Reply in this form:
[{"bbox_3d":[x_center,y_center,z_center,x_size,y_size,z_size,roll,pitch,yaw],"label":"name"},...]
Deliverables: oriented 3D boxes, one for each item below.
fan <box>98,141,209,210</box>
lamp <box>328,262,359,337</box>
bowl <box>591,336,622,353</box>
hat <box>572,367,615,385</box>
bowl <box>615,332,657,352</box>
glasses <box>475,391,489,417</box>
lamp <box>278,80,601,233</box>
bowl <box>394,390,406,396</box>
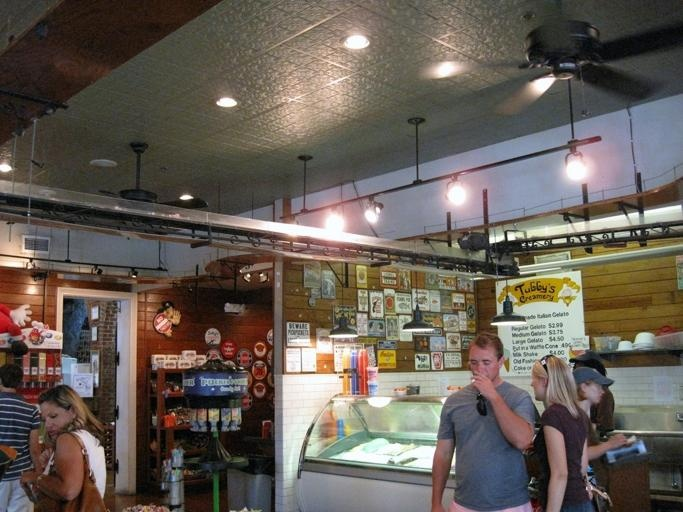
[{"bbox_3d":[-2.277,-0.934,6.993,1.457,0.604,1.367,-1,10,-25],"label":"fan"},{"bbox_3d":[-0.003,0.554,8.063,0.338,1.001,0.723,-5,-9,0],"label":"lamp"},{"bbox_3d":[3.374,1.107,7.964,0.325,0.126,0.282,0,-6,9],"label":"bowl"},{"bbox_3d":[1.839,0.856,4.538,0.284,0.079,0.155,5,-6,7],"label":"hat"},{"bbox_3d":[3.600,1.038,7.621,0.266,0.221,0.482,1,-9,-26],"label":"bowl"},{"bbox_3d":[0.933,0.980,4.164,0.084,0.155,0.077,-14,3,-28],"label":"glasses"},{"bbox_3d":[0.989,-0.926,7.579,4.321,1.100,1.362,-9,-10,37],"label":"lamp"},{"bbox_3d":[0.741,1.703,7.753,0.208,0.072,0.195,1,-15,0],"label":"bowl"}]
